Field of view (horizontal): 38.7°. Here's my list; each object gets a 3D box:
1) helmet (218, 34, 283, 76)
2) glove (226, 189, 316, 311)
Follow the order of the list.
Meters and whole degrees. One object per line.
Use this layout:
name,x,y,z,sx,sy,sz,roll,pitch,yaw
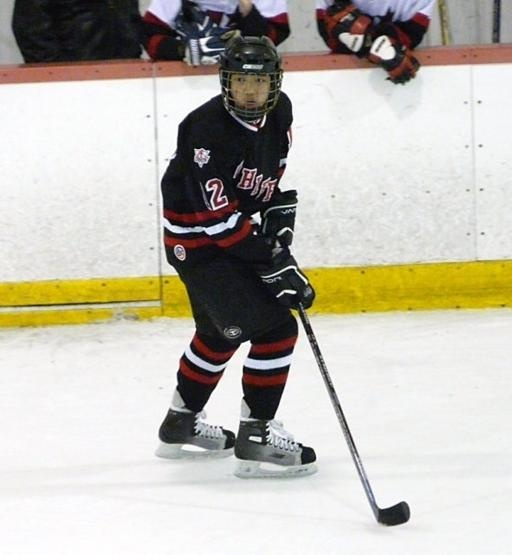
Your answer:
helmet,-0.016,-0.608,2.069,0.195,0.115,0.211,1,3,1
glove,0.045,-0.091,2.173,0.256,0.356,0.296,5,4,-7
